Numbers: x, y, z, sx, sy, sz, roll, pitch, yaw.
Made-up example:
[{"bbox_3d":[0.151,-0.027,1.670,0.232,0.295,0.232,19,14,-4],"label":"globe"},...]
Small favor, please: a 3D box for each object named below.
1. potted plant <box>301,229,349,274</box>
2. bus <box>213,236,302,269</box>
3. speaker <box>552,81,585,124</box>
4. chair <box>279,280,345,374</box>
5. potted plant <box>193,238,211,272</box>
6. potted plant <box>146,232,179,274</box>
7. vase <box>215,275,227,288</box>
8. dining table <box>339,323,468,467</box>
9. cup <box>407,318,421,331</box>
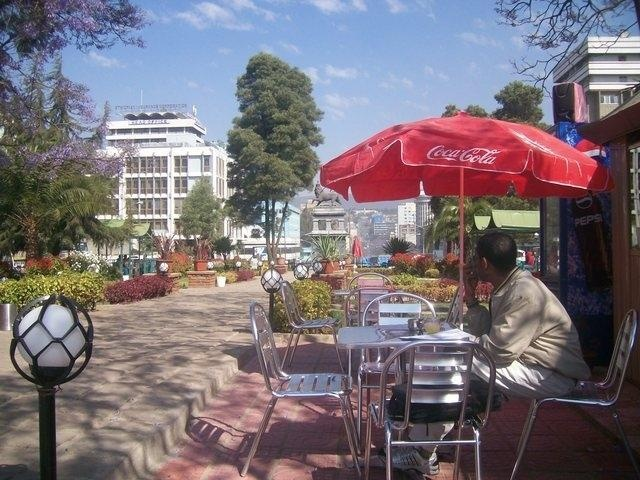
[{"bbox_3d":[0.168,0.409,17.086,1.260,1.109,1.327,1,11,-3],"label":"potted plant"},{"bbox_3d":[-7.460,2.095,69.518,12.330,4.514,3.940,1,1,21],"label":"bus"},{"bbox_3d":[3.528,-1.890,8.329,0.337,0.603,0.560,-2,-5,43],"label":"speaker"},{"bbox_3d":[-0.118,1.019,7.608,0.744,1.171,0.623,-4,-2,5],"label":"chair"},{"bbox_3d":[-5.119,0.626,25.472,0.638,1.407,3.027,2,-2,-12],"label":"potted plant"},{"bbox_3d":[-5.738,0.622,21.566,0.880,1.423,0.767,5,-18,-28],"label":"potted plant"},{"bbox_3d":[-4.113,1.709,24.477,0.385,0.363,0.394,-1,2,17],"label":"vase"},{"bbox_3d":[0.624,1.349,5.034,1.162,0.994,1.006,-1,2,-2],"label":"dining table"},{"bbox_3d":[0.812,0.730,5.169,0.093,0.072,0.098,0,4,0],"label":"cup"}]
